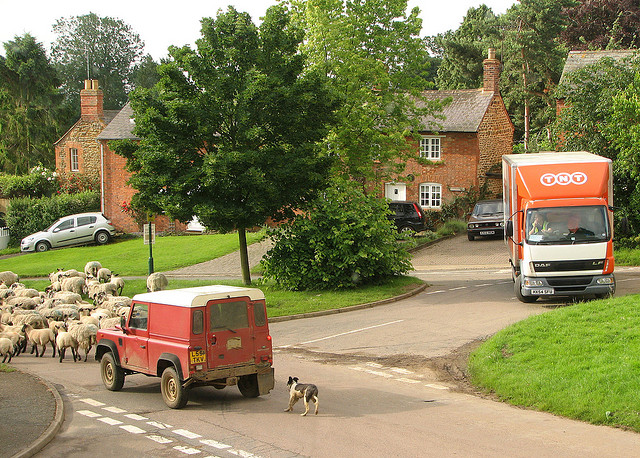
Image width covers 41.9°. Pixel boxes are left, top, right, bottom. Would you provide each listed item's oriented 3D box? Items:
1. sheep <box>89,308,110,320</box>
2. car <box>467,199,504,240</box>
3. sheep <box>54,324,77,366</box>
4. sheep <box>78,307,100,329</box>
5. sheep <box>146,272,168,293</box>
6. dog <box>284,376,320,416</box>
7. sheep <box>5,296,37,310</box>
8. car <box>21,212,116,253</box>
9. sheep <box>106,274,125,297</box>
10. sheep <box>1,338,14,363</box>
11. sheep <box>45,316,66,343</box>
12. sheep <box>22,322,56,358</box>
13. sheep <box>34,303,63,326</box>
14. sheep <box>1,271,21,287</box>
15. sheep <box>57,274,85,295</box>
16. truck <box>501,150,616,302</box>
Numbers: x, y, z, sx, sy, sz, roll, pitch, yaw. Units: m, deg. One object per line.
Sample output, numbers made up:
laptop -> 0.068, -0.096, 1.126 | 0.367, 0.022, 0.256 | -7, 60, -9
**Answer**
sheep -> -8.067, 3.020, 30.000 | 0.959, 0.491, 0.389 | 7, 8, 36
car -> 9.929, -0.512, 49.958 | 2.101, 2.403, 1.224 | 2, 12, 17
sheep -> -8.841, 3.908, 28.833 | 0.495, 0.966, 1.723 | -3, 8, -27
sheep -> -8.392, 3.249, 29.967 | 0.491, 0.769, 1.428 | -5, 14, -37
sheep -> -7.210, 2.393, 36.795 | 0.738, 1.110, 2.148 | 1, 7, -5
dog -> -0.536, 4.813, 24.121 | 0.496, 0.986, 1.607 | 8, -6, -37
sheep -> -11.490, 2.787, 32.050 | 1.166, 0.582, 0.477 | 11, 6, 14
car -> -16.666, 0.190, 56.655 | 6.151, 2.358, 2.804 | -7, 4, 0
sheep -> -8.964, 2.403, 36.696 | 0.550, 0.787, 1.495 | -4, 13, -28
sheep -> -10.640, 4.058, 28.374 | 0.414, 0.903, 0.884 | -5, 12, -17
sheep -> -9.313, 3.330, 29.548 | 0.366, 0.707, 1.296 | 0, 7, -35
sheep -> -9.712, 3.898, 29.082 | 0.871, 1.198, 1.412 | -11, 14, -39
sheep -> -9.729, 3.081, 29.882 | 1.355, 0.701, 0.455 | 11, 12, 36
sheep -> -14.092, 2.168, 37.839 | 0.685, 0.559, 0.925 | -1, 11, 2
sheep -> -11.001, 2.443, 37.226 | 1.424, 0.939, 0.695 | 5, 9, 28
truck -> 9.268, 0.166, 32.141 | 4.129, 5.757, 2.817 | 3, 12, 21
